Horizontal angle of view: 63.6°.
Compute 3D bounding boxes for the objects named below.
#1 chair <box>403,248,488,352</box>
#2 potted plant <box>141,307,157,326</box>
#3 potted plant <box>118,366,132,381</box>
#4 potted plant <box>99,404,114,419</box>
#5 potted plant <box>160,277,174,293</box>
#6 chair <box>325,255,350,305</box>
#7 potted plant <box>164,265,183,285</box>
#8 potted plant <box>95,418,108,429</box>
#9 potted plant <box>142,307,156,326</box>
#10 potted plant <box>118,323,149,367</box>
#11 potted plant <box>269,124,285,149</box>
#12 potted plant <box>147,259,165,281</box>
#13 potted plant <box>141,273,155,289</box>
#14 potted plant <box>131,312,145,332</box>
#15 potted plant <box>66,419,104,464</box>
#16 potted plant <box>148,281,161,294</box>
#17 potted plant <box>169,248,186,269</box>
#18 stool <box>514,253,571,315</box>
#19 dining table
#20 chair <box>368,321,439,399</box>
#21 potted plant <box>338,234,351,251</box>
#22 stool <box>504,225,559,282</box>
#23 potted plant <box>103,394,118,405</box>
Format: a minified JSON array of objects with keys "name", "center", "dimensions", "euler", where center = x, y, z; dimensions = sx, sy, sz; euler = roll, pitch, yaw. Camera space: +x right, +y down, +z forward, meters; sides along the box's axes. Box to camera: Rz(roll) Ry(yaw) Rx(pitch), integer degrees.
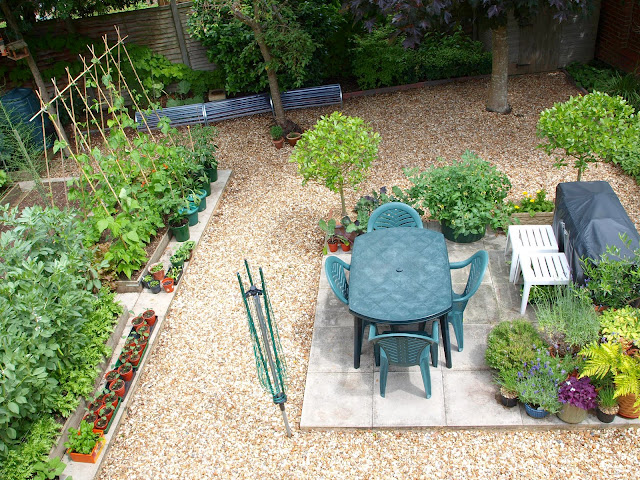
[{"name":"chair","center":[1.624,0.647,6.876],"dimensions":[1.038,1.501,1.088],"euler":[-2,59,9]},{"name":"potted plant","center":[-2.495,1.114,7.530],"dimensions":[0.204,0.162,0.199],"euler":[-32,45,-33]},{"name":"potted plant","center":[-2.573,1.764,6.865],"dimensions":[0.167,0.138,0.179],"euler":[2,38,2]},{"name":"potted plant","center":[-2.670,2.155,6.480],"dimensions":[0.132,0.140,0.143],"euler":[7,62,-3]},{"name":"potted plant","center":[-2.348,0.694,7.996],"dimensions":[0.187,0.181,0.218],"euler":[3,39,2]},{"name":"chair","center":[0.228,0.560,7.005],"dimensions":[0.388,0.530,0.421],"euler":[-12,70,6]},{"name":"potted plant","center":[-2.325,0.523,8.220],"dimensions":[0.192,0.114,0.333],"euler":[-7,38,4]},{"name":"potted plant","center":[-2.703,2.266,6.357],"dimensions":[0.115,0.091,0.123],"euler":[2,41,-6]},{"name":"potted plant","center":[-2.493,1.113,7.537],"dimensions":[0.195,0.160,0.201],"euler":[25,41,39]},{"name":"potted plant","center":[-2.574,1.465,7.168],"dimensions":[0.379,0.134,0.403],"euler":[1,51,8]},{"name":"potted plant","center":[-0.923,-2.252,11.186],"dimensions":[0.299,0.356,0.482],"euler":[-11,36,-2]},{"name":"potted plant","center":[-2.579,0.481,8.139],"dimensions":[0.255,0.204,0.270],"euler":[-8,39,-6]},{"name":"potted plant","center":[-2.669,0.669,8.015],"dimensions":[0.193,0.218,0.209],"euler":[-2,50,0]},{"name":"potted plant","center":[-2.636,1.178,7.413],"dimensions":[0.179,0.147,0.197],"euler":[1,40,-1]},{"name":"potted plant","center":[-2.825,2.411,6.268],"dimensions":[0.362,0.328,0.452],"euler":[0,38,-3]},{"name":"potted plant","center":[-2.547,0.727,8.004],"dimensions":[0.151,0.177,0.180],"euler":[3,38,4]},{"name":"potted plant","center":[-2.291,0.317,8.403],"dimensions":[0.223,0.289,0.286],"euler":[1,43,-3]},{"name":"stool","center":[3.078,0.547,7.117],"dimensions":[0.654,0.618,0.714],"euler":[-2,37,10]},{"name":"dining table","center":[1.068,0.965,7.271],"dimensions":[1.417,1.478,1.945],"euler":[0,52,10]},{"name":"chair","center":[1.026,1.374,6.259],"dimensions":[0.884,1.280,0.942],"euler":[-2,59,8]},{"name":"potted plant","center":[0.392,0.038,8.383],"dimensions":[0.185,0.254,0.244],"euler":[-6,27,0]},{"name":"stool","center":[3.084,0.067,7.632],"dimensions":[0.724,0.764,0.774],"euler":[-8,42,2]},{"name":"potted plant","center":[-2.677,2.028,6.588],"dimensions":[0.119,0.115,0.131],"euler":[1,27,-9]}]
